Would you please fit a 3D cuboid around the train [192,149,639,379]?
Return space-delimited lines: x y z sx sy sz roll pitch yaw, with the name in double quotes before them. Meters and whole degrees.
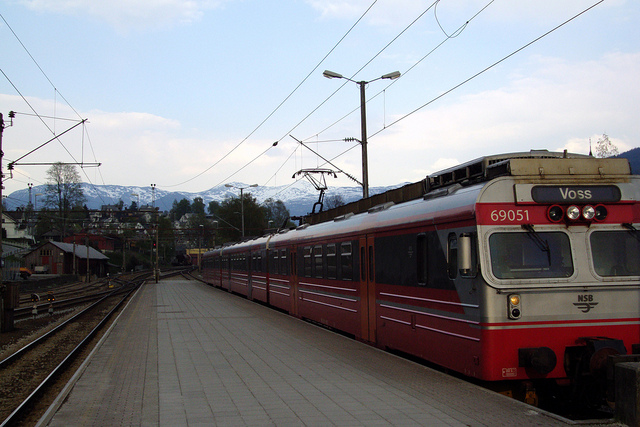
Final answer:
"train" 1.141 1.312 21.172 4.557 4.874 24.603 2 -1 -20
